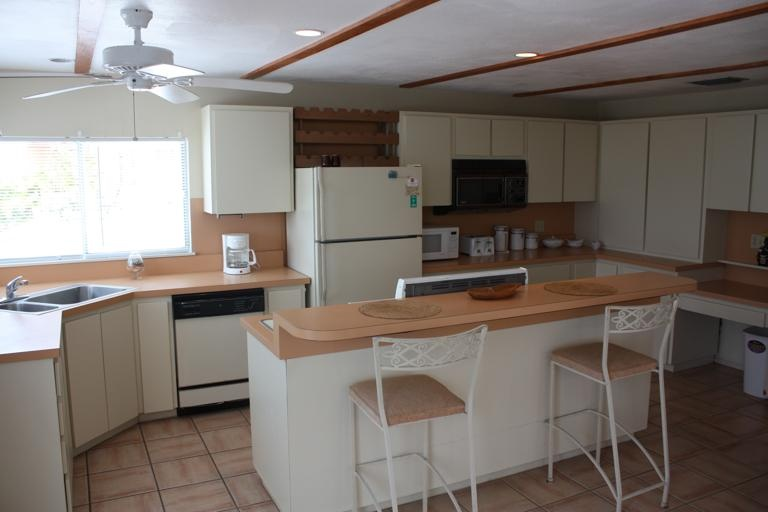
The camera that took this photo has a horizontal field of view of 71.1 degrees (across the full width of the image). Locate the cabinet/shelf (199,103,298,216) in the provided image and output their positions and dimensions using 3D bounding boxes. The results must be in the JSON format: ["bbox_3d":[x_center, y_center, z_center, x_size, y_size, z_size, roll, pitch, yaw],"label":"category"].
[{"bbox_3d":[-1.282,-0.934,5.213,0.877,1.030,0.265,-6,13,-10],"label":"cabinet/shelf"}]

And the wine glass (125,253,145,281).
[{"bbox_3d":[-2.401,0.094,5.188,0.148,0.243,0.261,-9,12,-22],"label":"wine glass"}]

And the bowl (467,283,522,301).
[{"bbox_3d":[0.794,0.270,3.897,0.279,0.052,0.159,-4,3,-7],"label":"bowl"}]

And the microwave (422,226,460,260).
[{"bbox_3d":[0.561,-0.156,6.040,0.587,0.326,0.371,-3,7,-25],"label":"microwave"}]

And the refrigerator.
[{"bbox_3d":[-0.246,-0.245,5.393,1.253,1.306,0.639,-9,13,-22],"label":"refrigerator"}]

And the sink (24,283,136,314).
[{"bbox_3d":[-2.796,0.358,4.753,0.376,0.150,0.445,13,19,37],"label":"sink"}]

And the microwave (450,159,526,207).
[{"bbox_3d":[1.111,-0.825,6.299,1.196,0.580,0.605,-6,13,-34],"label":"microwave"}]

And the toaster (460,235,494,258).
[{"bbox_3d":[1.110,-0.111,6.310,0.310,0.160,0.294,-1,2,-24],"label":"toaster"}]
